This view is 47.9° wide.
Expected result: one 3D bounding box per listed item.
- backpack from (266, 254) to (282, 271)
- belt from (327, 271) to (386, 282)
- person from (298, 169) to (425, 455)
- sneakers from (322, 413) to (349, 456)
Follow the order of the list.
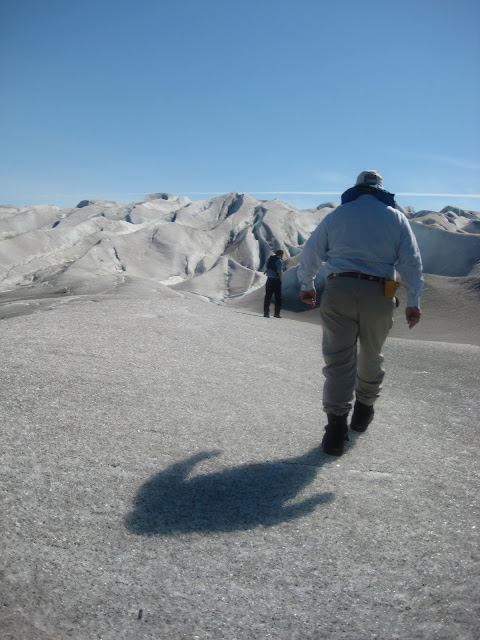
[{"bbox_3d":[0.581,-0.974,9.432,0.258,0.317,0.498,2,13,3],"label":"backpack"},{"bbox_3d":[0.642,-0.237,2.963,0.294,0.054,0.101,4,14,12],"label":"belt"},{"bbox_3d":[0.602,-0.051,3.121,0.811,1.573,0.658,-11,19,-39],"label":"person"},{"bbox_3d":[0.467,0.624,2.824,0.109,0.163,0.259,2,0,7],"label":"sneakers"}]
